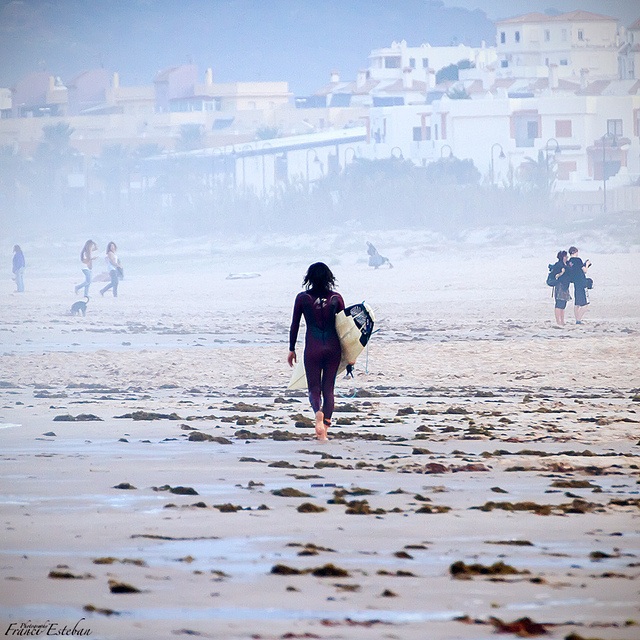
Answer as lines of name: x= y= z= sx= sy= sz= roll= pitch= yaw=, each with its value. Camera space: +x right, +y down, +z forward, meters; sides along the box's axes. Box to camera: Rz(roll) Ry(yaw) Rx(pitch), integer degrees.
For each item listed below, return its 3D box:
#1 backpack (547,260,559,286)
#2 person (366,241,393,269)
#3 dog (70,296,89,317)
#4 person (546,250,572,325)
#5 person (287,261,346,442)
backpack: x=6.278 y=-1.191 z=44.355 sx=0.133 sy=0.541 sz=0.378 roll=9 pitch=-11 yaw=0
person: x=2.365 y=-2.473 z=66.074 sx=0.880 sy=1.039 sz=0.953 roll=-2 pitch=5 yaw=2
dog: x=-7.343 y=-0.299 z=49.714 sx=0.512 sy=0.520 sz=0.869 roll=-3 pitch=6 yaw=-9
person: x=6.519 y=-0.748 z=44.669 sx=0.608 sy=2.038 sz=1.312 roll=-1 pitch=5 yaw=8
person: x=-0.026 y=0.650 z=33.388 sx=0.707 sy=3.435 sz=0.779 roll=3 pitch=7 yaw=45
